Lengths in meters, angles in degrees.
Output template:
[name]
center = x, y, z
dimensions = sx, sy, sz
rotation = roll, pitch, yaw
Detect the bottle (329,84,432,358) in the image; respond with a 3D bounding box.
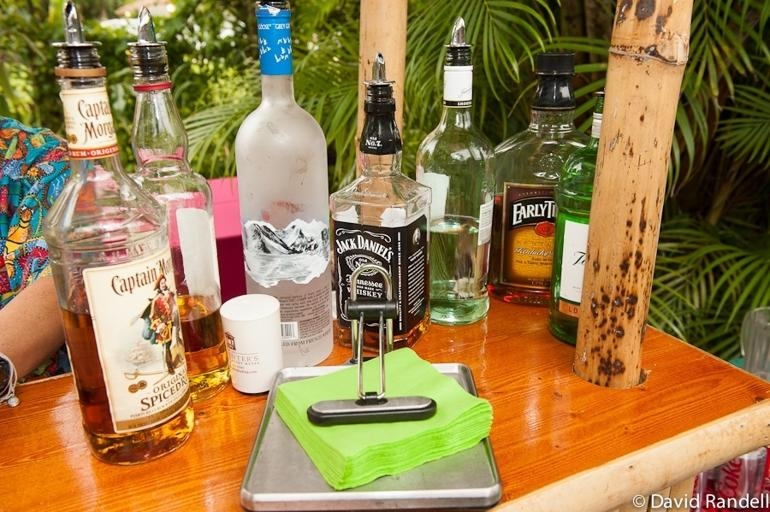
[bottle]
center = -0.005, -0.058, 1.021
dimensions = 0.180, 0.412, 0.167
rotation = -1, 18, 0
